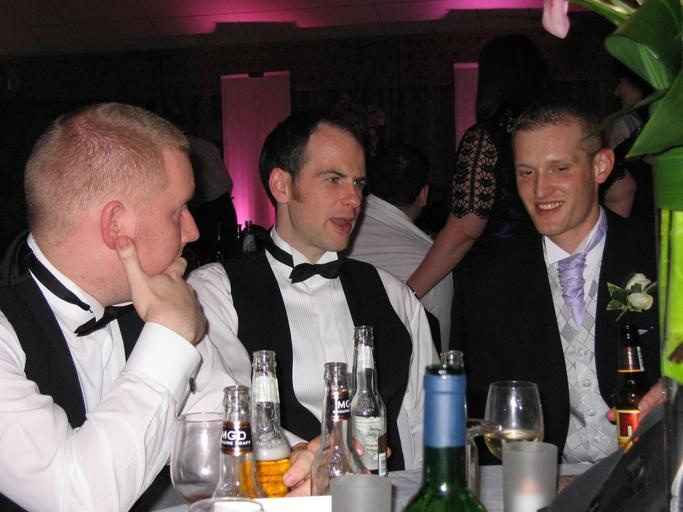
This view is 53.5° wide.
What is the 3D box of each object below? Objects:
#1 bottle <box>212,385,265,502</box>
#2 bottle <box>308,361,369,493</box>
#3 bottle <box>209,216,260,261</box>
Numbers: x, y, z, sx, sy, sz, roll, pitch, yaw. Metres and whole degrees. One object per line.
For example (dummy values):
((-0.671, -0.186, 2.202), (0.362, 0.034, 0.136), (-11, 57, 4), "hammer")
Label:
((-0.199, 0.369, 1.346), (0.095, 0.226, 0.158), (-5, -4, 24), "bottle")
((-0.015, 0.361, 1.388), (0.123, 0.292, 0.350), (-3, -3, 1), "bottle")
((-1.021, -0.157, 6.252), (0.260, 0.243, 0.406), (-5, 31, 12), "bottle")
